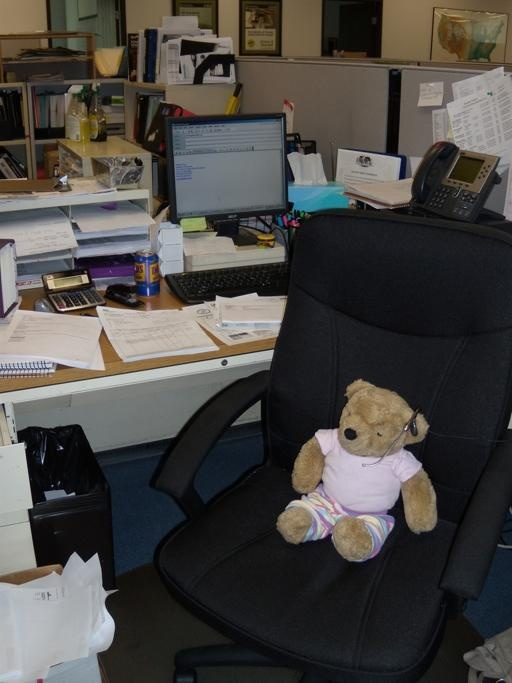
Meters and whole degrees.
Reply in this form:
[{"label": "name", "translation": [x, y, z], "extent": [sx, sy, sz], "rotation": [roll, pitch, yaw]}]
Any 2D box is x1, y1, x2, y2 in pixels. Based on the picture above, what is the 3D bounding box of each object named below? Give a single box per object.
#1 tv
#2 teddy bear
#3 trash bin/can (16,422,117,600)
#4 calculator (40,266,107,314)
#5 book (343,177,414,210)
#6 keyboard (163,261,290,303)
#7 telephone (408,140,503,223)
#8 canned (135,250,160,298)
[{"label": "tv", "translation": [-0.080, -0.567, 1.735], "extent": [0.478, 0.401, 0.142], "rotation": [-12, 29, -29]}, {"label": "teddy bear", "translation": [0.132, 0.262, 1.007], "extent": [0.259, 0.327, 0.305], "rotation": [0, 26, -4]}, {"label": "trash bin/can", "translation": [-0.531, 0.473, 1.486], "extent": [0.199, 0.392, 0.378], "rotation": [-12, 24, -24]}, {"label": "calculator", "translation": [-0.508, -0.138, 1.440], "extent": [0.125, 0.085, 0.166], "rotation": [-12, 28, -35]}, {"label": "book", "translation": [0.348, -0.420, 1.494], "extent": [0.182, 0.048, 0.353], "rotation": [5, 23, 16]}, {"label": "keyboard", "translation": [-0.078, -0.179, 1.550], "extent": [0.294, 0.043, 0.127], "rotation": [-10, 33, -21]}, {"label": "telephone", "translation": [0.476, -0.373, 1.223], "extent": [0.195, 0.082, 0.213], "rotation": [26, 80, 49]}, {"label": "canned", "translation": [-0.309, -0.189, 1.482], "extent": [0.073, 0.138, 0.077], "rotation": [2, 30, 0]}]
